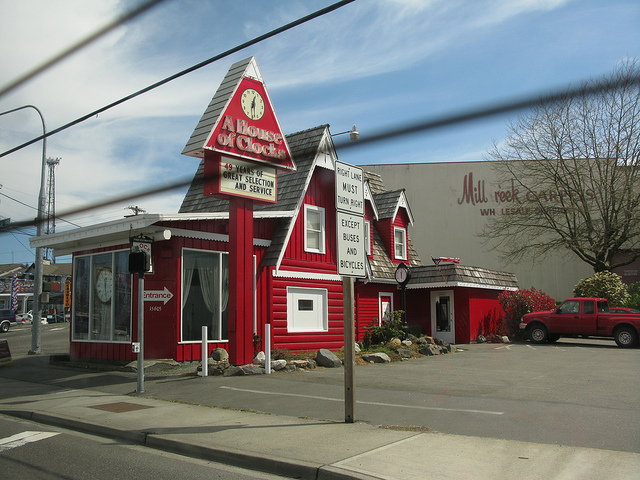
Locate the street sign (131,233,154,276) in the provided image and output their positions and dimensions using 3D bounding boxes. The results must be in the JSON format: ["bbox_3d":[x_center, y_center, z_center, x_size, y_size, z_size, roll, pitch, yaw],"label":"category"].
[{"bbox_3d":[-4.904,0.379,17.769,0.573,1.113,1.519,-1,1,-17],"label":"street sign"}]

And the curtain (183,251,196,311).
[{"bbox_3d":[-4.362,1.282,21.297,0.158,1.763,0.685,0,1,23],"label":"curtain"}]

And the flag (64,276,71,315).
[{"bbox_3d":[-12.039,2.609,30.660,0.212,1.709,6.324,-2,1,-22],"label":"flag"}]

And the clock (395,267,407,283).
[{"bbox_3d":[3.293,1.404,26.241,0.083,0.607,0.577,12,-11,-30],"label":"clock"}]

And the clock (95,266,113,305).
[{"bbox_3d":[-7.444,1.580,22.239,0.146,1.434,1.172,3,-6,-43],"label":"clock"}]

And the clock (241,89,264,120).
[{"bbox_3d":[-2.159,-4.213,20.191,0.127,0.962,0.923,-9,-13,42],"label":"clock"}]
